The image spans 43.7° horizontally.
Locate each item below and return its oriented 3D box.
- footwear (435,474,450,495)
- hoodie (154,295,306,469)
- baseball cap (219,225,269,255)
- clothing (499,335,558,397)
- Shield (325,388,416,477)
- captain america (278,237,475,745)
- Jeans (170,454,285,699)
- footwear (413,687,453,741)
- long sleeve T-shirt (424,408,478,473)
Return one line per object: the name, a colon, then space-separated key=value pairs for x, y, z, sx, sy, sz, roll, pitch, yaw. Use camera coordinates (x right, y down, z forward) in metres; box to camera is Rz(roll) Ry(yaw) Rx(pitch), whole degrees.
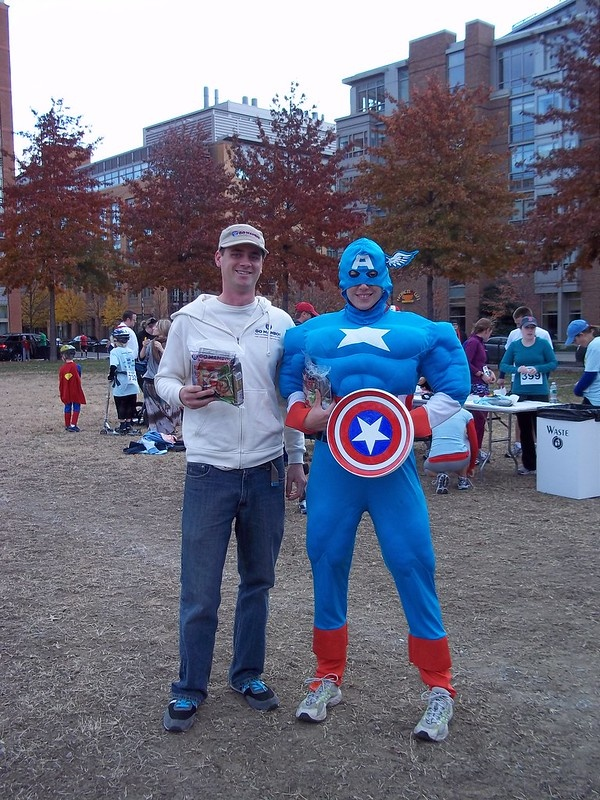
footwear: x=1.447 y=0.857 z=7.622 sx=0.089 sy=0.239 sz=0.170 roll=2 pitch=-3 yaw=-2
hoodie: x=-0.260 y=-0.069 z=3.103 sx=0.671 sy=0.682 sz=0.429 roll=-2 pitch=5 yaw=-31
baseball cap: x=-0.238 y=-0.667 z=3.056 sx=0.190 sy=0.133 sz=0.249 roll=-2 pitch=6 yaw=11
clothing: x=2.681 y=-0.388 z=8.771 sx=0.636 sy=0.678 sz=0.407 roll=-1 pitch=15 yaw=15
Shield: x=0.277 y=0.120 z=2.792 sx=0.496 sy=0.456 sz=0.078 roll=-1 pitch=-2 yaw=-39
captain america: x=0.293 y=0.308 z=2.987 sx=0.770 sy=1.931 sz=0.611 roll=-2 pitch=7 yaw=12
Jeans: x=-0.284 y=0.730 z=3.047 sx=0.555 sy=0.995 sz=0.229 roll=-9 pitch=9 yaw=-41
footwear: x=0.516 y=1.192 z=2.884 sx=0.127 sy=0.161 sz=0.260 roll=-1 pitch=7 yaw=19
long sleeve T-shirt: x=1.572 y=0.383 z=7.637 sx=0.478 sy=0.899 sz=0.555 roll=3 pitch=-3 yaw=23
